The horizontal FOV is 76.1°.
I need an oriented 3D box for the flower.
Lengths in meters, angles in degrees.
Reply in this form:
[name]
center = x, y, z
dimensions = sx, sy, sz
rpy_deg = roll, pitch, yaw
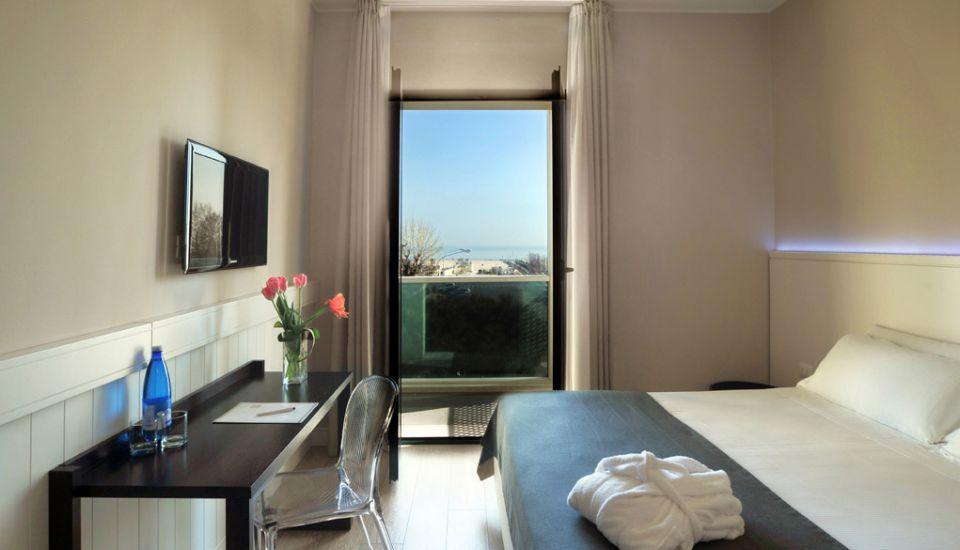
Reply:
[flower]
center = -1.169, 0.318, 4.180
dimensions = 0.705, 0.714, 0.675
rpy_deg = 0, -1, -38

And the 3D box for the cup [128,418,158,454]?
[cup]
center = -1.651, 0.800, 3.050
dimensions = 0.142, 0.152, 0.136
rpy_deg = 0, 1, 0
